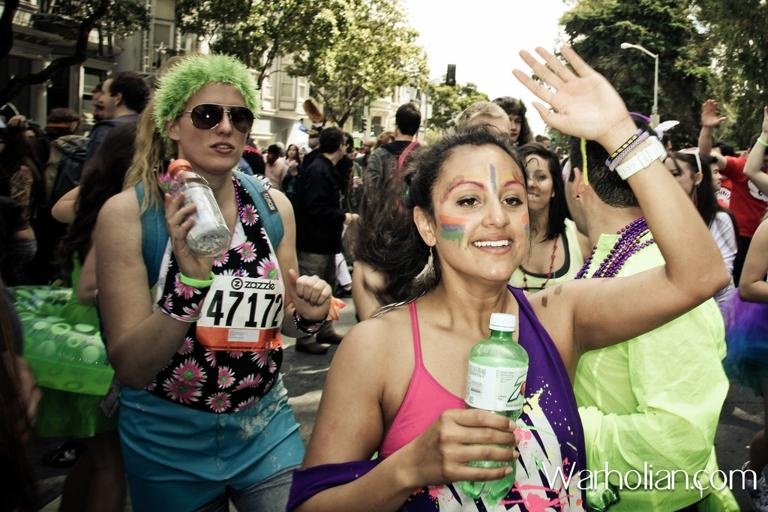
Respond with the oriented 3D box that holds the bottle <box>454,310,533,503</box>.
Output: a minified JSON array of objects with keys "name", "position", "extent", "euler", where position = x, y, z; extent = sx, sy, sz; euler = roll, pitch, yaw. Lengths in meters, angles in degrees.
[{"name":"bottle","position":[0.389,0.562,1.941],"extent":[0.205,0.673,0.295],"euler":[7,0,15]}]
